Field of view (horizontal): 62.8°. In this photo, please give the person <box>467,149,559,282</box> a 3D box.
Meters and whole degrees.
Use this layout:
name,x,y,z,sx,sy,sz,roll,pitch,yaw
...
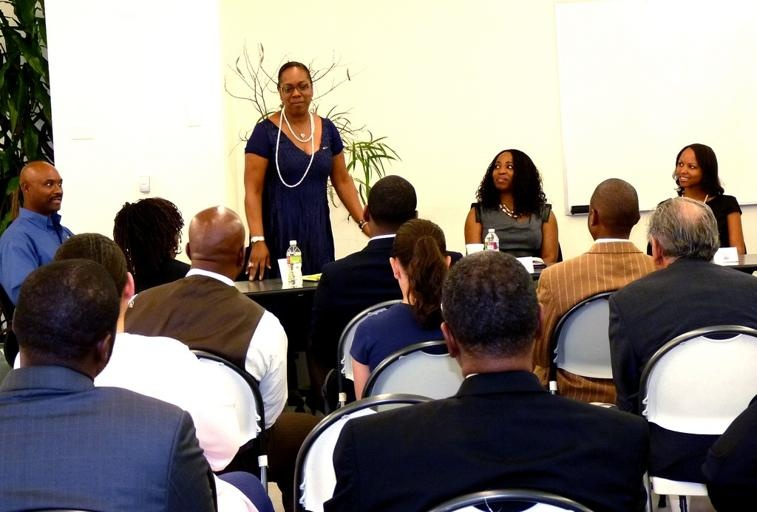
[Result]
name,x,y,z,sx,sy,sz,roll,pitch,yaw
person,0.972,-0.272,4.592,0.673,1.252,0.688,1,-23,0

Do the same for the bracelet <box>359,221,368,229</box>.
name,x,y,z,sx,sy,sz,roll,pitch,yaw
bracelet,-0.090,-0.176,3.539,0.043,0.027,0.062,-5,-9,-16

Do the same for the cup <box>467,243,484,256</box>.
name,x,y,z,sx,sy,sz,roll,pitch,yaw
cup,0.465,-0.032,3.011,0.070,0.062,0.076,1,-4,0

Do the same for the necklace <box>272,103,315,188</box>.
name,x,y,z,sx,sy,sz,roll,pitch,yaw
necklace,-0.520,-0.670,3.845,0.263,0.501,0.098,-3,5,-7

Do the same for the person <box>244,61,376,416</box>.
name,x,y,z,sx,sy,sz,roll,pitch,yaw
person,-0.414,-0.241,4.091,0.774,1.986,0.845,3,42,-3

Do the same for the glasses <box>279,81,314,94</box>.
name,x,y,z,sx,sy,sz,roll,pitch,yaw
glasses,-0.500,-1.006,3.717,0.192,0.071,0.113,-4,5,-13
